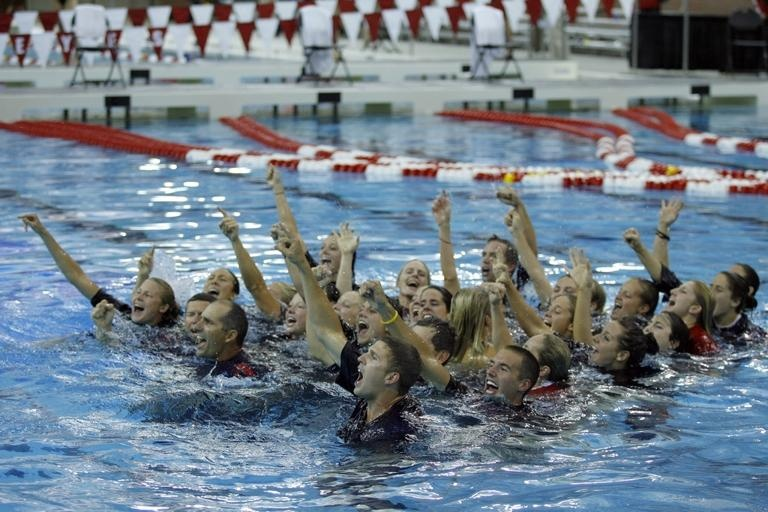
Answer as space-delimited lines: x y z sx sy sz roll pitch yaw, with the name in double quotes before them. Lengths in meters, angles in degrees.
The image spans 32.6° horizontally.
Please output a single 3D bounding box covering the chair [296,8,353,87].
"chair" -1.089 -3.635 22.409 1.240 1.443 1.060 2 20 4
